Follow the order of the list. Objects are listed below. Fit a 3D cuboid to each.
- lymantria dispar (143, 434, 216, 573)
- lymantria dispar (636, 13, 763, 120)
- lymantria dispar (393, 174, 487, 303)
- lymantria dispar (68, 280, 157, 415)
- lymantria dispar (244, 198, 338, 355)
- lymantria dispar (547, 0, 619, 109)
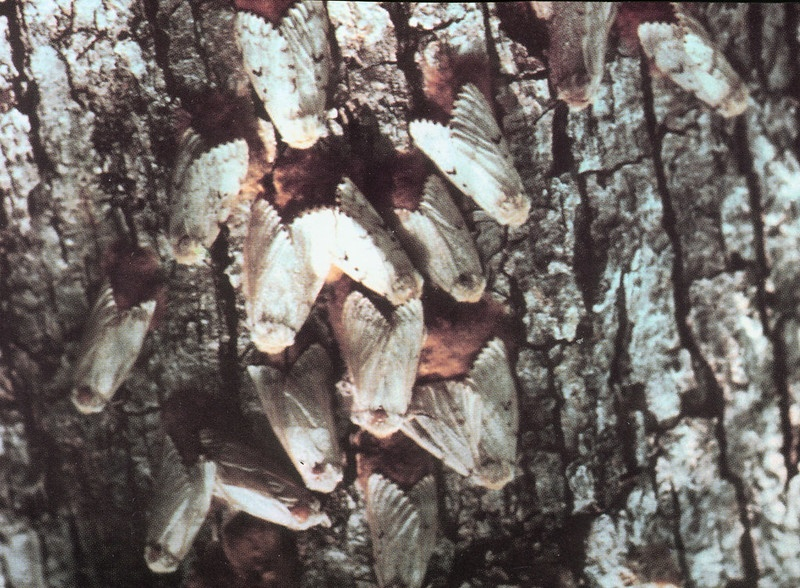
[{"bbox_3d":[-0.288,0.271,1.679,0.088,0.164,0.036,9,5,5],"label":"lymantria dispar"},{"bbox_3d":[0.392,-0.304,1.732,0.099,0.148,0.039,-43,3,7],"label":"lymantria dispar"},{"bbox_3d":[0.049,-0.073,1.676,0.093,0.167,0.038,-30,9,10],"label":"lymantria dispar"},{"bbox_3d":[-0.385,0.069,1.725,0.091,0.171,0.041,22,4,-8],"label":"lymantria dispar"},{"bbox_3d":[-0.149,-0.021,1.674,0.105,0.195,0.041,-1,12,-5],"label":"lymantria dispar"},{"bbox_3d":[0.230,-0.318,1.722,0.080,0.142,0.030,-2,6,-5],"label":"lymantria dispar"}]
